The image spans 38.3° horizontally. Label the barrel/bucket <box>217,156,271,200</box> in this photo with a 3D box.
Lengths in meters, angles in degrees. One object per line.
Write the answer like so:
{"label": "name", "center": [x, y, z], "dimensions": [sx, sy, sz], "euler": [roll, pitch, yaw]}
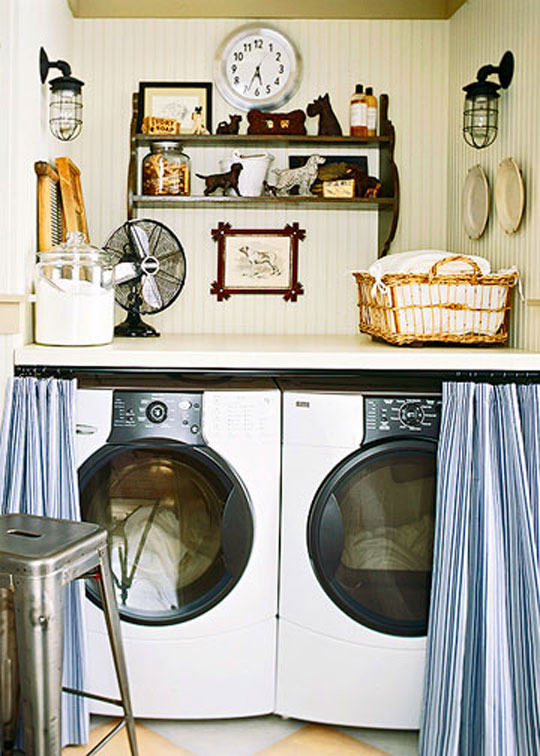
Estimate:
{"label": "barrel/bucket", "center": [-0.090, -0.684, 2.645], "dimensions": [0.135, 0.131, 0.150], "euler": [-14, 21, -41]}

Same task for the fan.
{"label": "fan", "center": [-0.425, -0.320, 2.526], "dimensions": [0.262, 0.352, 0.208], "euler": [0, 4, -30]}

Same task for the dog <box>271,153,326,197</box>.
{"label": "dog", "center": [0.095, -0.695, 2.677], "dimensions": [0.174, 0.134, 0.088], "euler": [1, 7, 2]}

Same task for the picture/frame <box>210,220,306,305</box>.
{"label": "picture/frame", "center": [-0.050, -0.431, 2.811], "dimensions": [0.272, 0.260, 0.021], "euler": [0, 2, -2]}

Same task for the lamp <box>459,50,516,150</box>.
{"label": "lamp", "center": [0.636, -0.813, 2.285], "dimensions": [0.124, 0.268, 0.111], "euler": [-2, 8, -9]}

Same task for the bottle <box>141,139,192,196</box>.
{"label": "bottle", "center": [-0.348, -0.685, 2.581], "dimensions": [0.162, 0.198, 0.175], "euler": [0, 2, -3]}

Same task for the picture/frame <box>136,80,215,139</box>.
{"label": "picture/frame", "center": [-0.331, -0.933, 2.711], "dimensions": [0.220, 0.205, 0.019], "euler": [-1, 3, -3]}

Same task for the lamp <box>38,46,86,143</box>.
{"label": "lamp", "center": [-0.603, -0.819, 2.257], "dimensions": [0.112, 0.250, 0.096], "euler": [0, 3, -7]}

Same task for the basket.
{"label": "basket", "center": [0.484, -0.232, 2.286], "dimensions": [0.436, 0.271, 0.401], "euler": [1, 7, 5]}

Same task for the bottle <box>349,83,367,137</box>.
{"label": "bottle", "center": [0.304, -0.917, 2.684], "dimensions": [0.059, 0.201, 0.166], "euler": [1, 7, 5]}
